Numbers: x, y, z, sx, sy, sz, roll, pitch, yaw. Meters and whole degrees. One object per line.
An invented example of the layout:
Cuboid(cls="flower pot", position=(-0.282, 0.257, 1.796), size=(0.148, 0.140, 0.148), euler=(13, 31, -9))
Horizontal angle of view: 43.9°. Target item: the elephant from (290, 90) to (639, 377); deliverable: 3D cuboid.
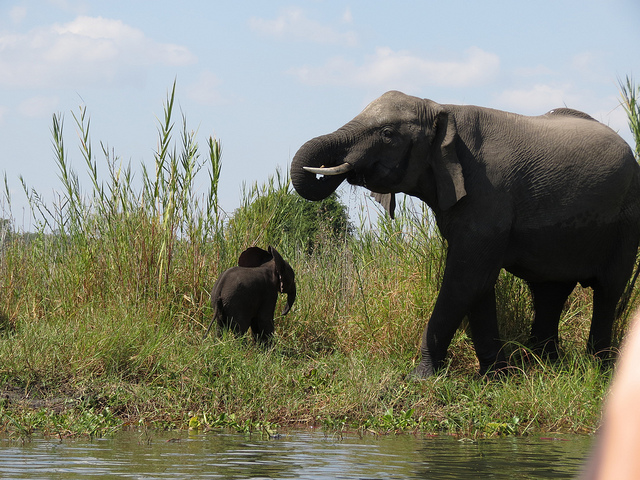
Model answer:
Cuboid(cls="elephant", position=(1.428, 0.060, 7.104), size=(2.210, 1.853, 1.002), euler=(2, 5, -9))

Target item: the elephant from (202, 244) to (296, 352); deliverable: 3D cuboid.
Cuboid(cls="elephant", position=(-0.679, 0.605, 8.082), size=(0.486, 1.088, 1.168), euler=(2, 5, 44))
